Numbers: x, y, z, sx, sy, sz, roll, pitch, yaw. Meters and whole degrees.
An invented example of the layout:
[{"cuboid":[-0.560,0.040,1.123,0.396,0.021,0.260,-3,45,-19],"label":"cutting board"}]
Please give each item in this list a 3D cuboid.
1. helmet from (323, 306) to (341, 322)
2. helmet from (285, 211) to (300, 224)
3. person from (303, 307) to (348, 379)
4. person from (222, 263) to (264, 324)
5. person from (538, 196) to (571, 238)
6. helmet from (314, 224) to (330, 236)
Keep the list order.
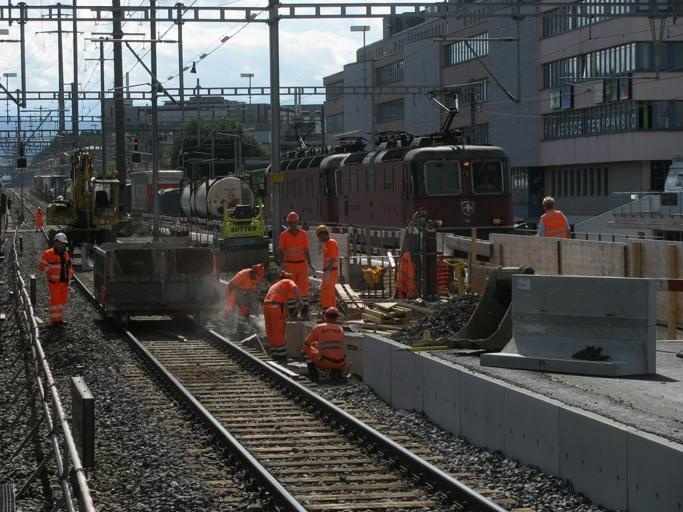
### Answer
[{"cuboid":[-0.167,1.037,17.303,0.231,0.279,0.321,3,-9,-3],"label":"helmet"},{"cuboid":[-1.069,-0.815,21.308,0.193,0.239,0.554,-1,5,-6],"label":"helmet"},{"cuboid":[-0.262,1.623,17.845,0.828,1.360,0.749,4,-5,-42],"label":"person"},{"cuboid":[-2.138,0.822,21.030,0.734,1.312,1.449,-1,5,-11],"label":"person"},{"cuboid":[4.552,-0.815,20.839,0.668,0.918,2.300,1,5,12],"label":"person"},{"cuboid":[-0.409,-0.530,20.829,0.224,0.199,0.379,-1,5,-9],"label":"helmet"}]
